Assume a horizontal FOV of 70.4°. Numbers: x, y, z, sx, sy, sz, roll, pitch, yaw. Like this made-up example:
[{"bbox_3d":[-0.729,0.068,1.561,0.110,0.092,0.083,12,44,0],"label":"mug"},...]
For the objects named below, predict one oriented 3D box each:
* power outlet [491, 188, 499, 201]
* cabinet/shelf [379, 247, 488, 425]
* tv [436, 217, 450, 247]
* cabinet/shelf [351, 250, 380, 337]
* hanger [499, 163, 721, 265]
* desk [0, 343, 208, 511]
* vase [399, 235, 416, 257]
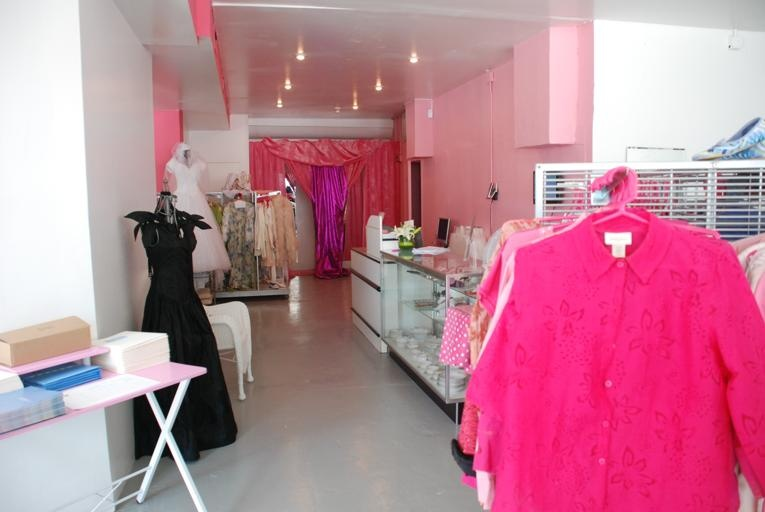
[{"bbox_3d":[1.326,-0.727,6.444,0.088,0.132,0.124,8,8,-6],"label":"power outlet"},{"bbox_3d":[0.369,0.603,4.034,0.405,0.918,1.184,-1,10,-18],"label":"cabinet/shelf"},{"bbox_3d":[0.862,-0.333,7.643,0.150,0.502,0.413,0,6,-15],"label":"tv"},{"bbox_3d":[-0.175,0.409,6.034,0.295,0.620,0.881,-1,9,-12],"label":"cabinet/shelf"},{"bbox_3d":[1.310,-0.310,3.023,1.208,0.415,0.840,-6,12,-25],"label":"hanger"},{"bbox_3d":[-1.572,0.977,3.001,0.554,0.783,1.014,2,4,25],"label":"desk"},{"bbox_3d":[0.255,-0.084,5.271,0.151,0.196,0.158,-1,5,-8],"label":"vase"}]
